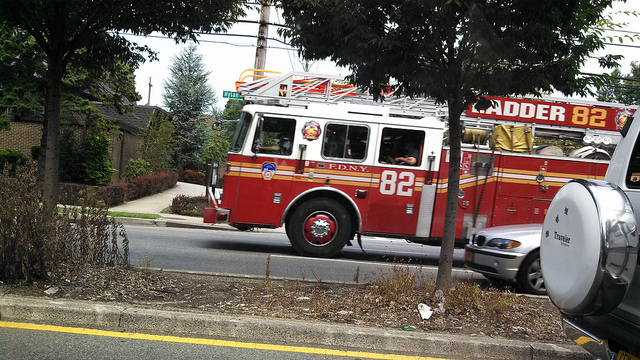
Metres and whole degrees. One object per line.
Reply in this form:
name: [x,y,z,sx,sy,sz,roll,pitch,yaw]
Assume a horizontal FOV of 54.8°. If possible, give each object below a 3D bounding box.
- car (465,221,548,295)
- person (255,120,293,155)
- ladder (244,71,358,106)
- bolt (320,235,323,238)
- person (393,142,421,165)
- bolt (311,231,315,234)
car: [3.865,1.785,14.616,2.647,1.092,1.137,2,-5,-7]
person: [-1.262,-1.112,16.487,1.000,0.565,0.945,1,0,1]
ladder: [-0.438,-2.754,19.029,3.865,0.775,2.327,-2,11,-25]
bolt: [0.022,1.502,16.473,0.050,0.029,0.051,5,4,43]
person: [2.428,-0.649,17.266,0.588,0.988,0.655,14,-2,7]
bolt: [-0.201,1.393,16.463,0.087,0.073,0.017,5,5,17]
